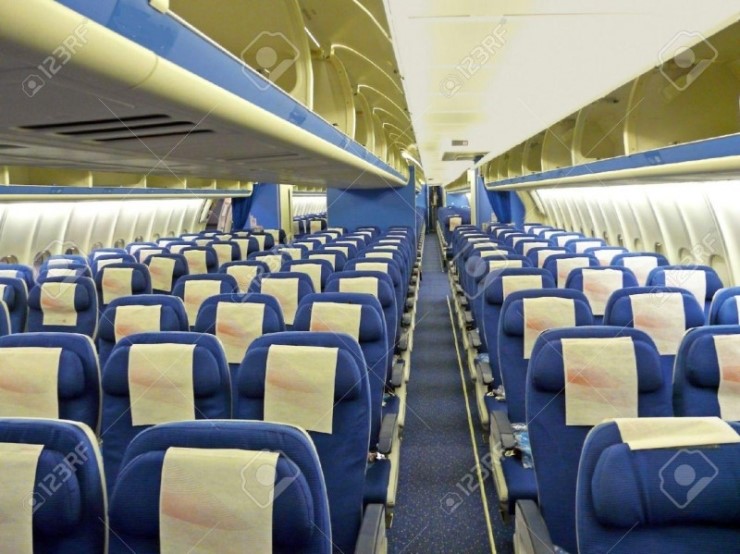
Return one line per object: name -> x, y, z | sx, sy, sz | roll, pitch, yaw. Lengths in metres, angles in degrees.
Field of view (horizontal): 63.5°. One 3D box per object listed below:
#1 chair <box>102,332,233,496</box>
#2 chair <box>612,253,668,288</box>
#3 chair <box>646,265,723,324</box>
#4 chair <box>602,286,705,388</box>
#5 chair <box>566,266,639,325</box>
chair -> -1.101, 0.675, 3.214 | 0.578, 0.941, 0.758 | -2, 6, -2
chair -> 3.091, -0.171, 6.873 | 0.519, 0.664, 0.522 | 1, -7, 12
chair -> 2.832, 0.219, 5.473 | 0.514, 0.737, 0.580 | 0, -3, 12
chair -> 1.978, 0.462, 4.398 | 0.681, 0.772, 0.618 | 0, -2, 11
chair -> 2.190, 0.059, 5.884 | 0.803, 0.805, 0.469 | 1, 6, 12
